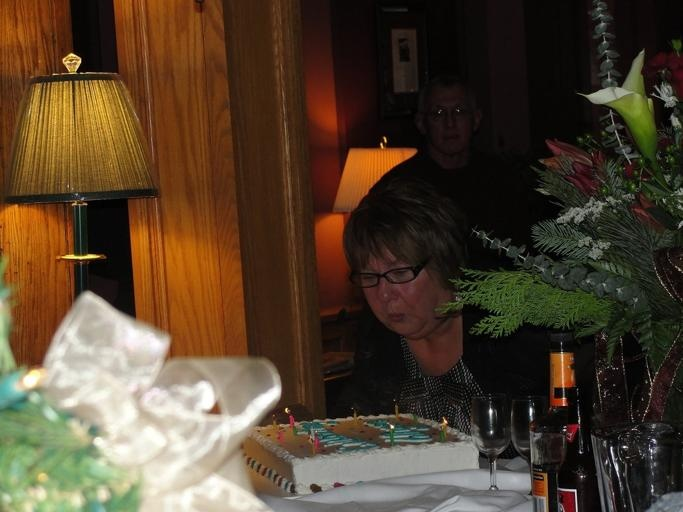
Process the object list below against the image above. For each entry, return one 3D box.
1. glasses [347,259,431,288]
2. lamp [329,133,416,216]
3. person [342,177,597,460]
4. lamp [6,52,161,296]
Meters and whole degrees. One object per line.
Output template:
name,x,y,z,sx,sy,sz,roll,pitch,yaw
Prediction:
glasses,0.180,0.063,2.277,0.236,0.111,0.056,3,7,10
lamp,0.129,-0.339,2.624,0.251,0.182,0.273,-2,28,20
person,0.311,0.170,2.587,0.922,1.214,0.751,-7,-7,40
lamp,-0.784,-0.234,2.379,0.526,1.031,0.552,-2,2,-14
